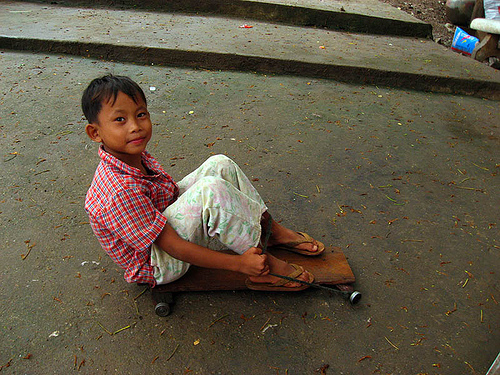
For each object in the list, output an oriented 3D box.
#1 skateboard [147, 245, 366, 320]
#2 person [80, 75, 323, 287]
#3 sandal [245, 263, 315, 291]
[{"bbox_3d":[0.045,0.599,2.637,1.337,0.147,0.472,-1,25,0],"label":"skateboard"},{"bbox_3d":[-0.295,-0.039,2.602,1.756,1.147,0.910,1,26,-9],"label":"person"},{"bbox_3d":[0.201,0.587,2.615,0.464,0.145,0.139,2,36,-3],"label":"sandal"}]
